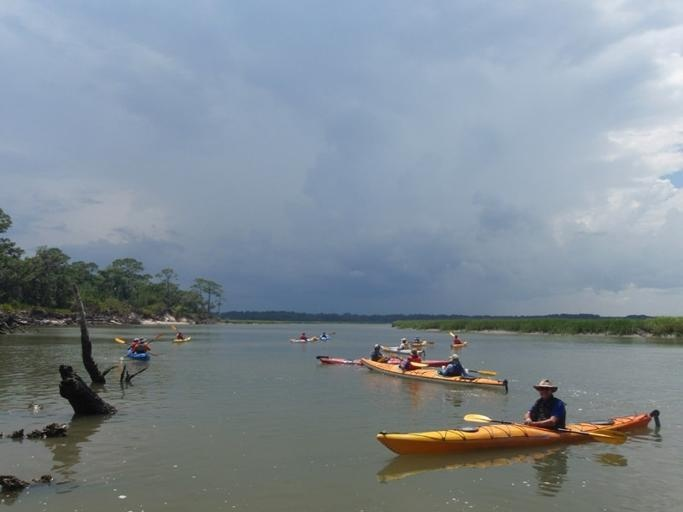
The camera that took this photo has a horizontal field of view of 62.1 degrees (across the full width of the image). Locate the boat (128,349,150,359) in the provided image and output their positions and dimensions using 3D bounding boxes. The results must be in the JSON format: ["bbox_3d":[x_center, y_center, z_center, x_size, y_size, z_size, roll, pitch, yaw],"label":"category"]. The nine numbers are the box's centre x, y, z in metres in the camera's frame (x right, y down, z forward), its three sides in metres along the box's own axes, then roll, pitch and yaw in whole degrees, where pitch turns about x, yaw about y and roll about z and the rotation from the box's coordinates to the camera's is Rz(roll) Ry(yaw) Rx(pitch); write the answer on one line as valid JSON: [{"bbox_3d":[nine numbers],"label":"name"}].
[{"bbox_3d":[-14.665,7.139,40.871,1.741,0.752,0.934,-2,-2,33],"label":"boat"}]

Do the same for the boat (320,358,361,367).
[{"bbox_3d":[0.003,7.834,42.415,3.457,0.660,1.002,4,-3,6],"label":"boat"}]

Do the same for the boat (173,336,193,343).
[{"bbox_3d":[-18.118,9.648,65.438,1.575,0.753,2.215,1,-3,10],"label":"boat"}]

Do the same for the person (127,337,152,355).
[{"bbox_3d":[-14.881,6.609,42.117,1.512,0.678,1.949,4,-7,-14],"label":"person"}]
